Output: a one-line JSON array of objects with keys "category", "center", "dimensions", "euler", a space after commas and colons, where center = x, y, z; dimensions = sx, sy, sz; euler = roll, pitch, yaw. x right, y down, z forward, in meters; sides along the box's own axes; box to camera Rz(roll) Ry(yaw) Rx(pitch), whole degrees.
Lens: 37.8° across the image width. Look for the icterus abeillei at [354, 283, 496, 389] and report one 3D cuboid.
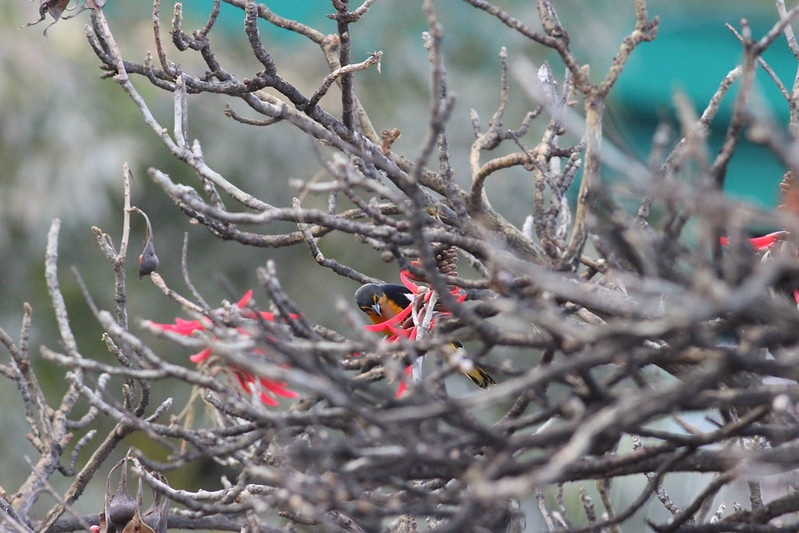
[{"category": "icterus abeillei", "center": [0.128, 0.359, 6.198], "dimensions": [0.857, 0.238, 0.357], "euler": [23, -76, -2]}]
